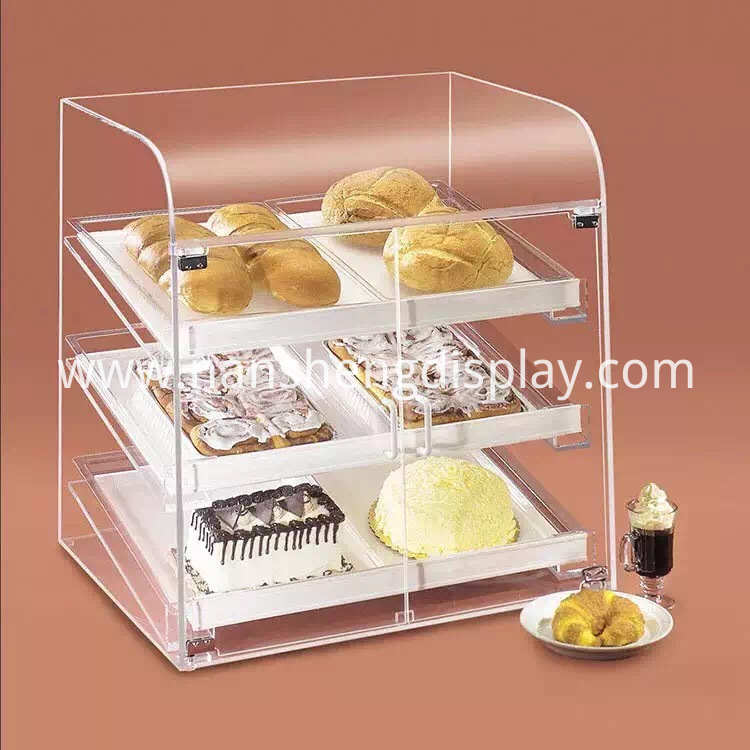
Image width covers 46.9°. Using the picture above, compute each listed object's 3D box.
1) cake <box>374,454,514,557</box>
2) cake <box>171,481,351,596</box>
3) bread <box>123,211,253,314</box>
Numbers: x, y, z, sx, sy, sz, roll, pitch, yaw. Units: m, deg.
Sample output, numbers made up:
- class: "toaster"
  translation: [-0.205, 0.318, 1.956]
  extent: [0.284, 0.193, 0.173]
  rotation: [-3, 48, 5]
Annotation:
- class: "cake"
  translation: [0.176, 0.360, 2.347]
  extent: [0.381, 0.101, 0.314]
  rotation: [-6, 24, -11]
- class: "cake"
  translation: [-0.282, 0.397, 2.282]
  extent: [0.460, 0.223, 0.244]
  rotation: [1, 29, -43]
- class: "bread"
  translation: [-0.454, -0.278, 2.124]
  extent: [0.297, 0.245, 0.751]
  rotation: [-6, 10, -14]
